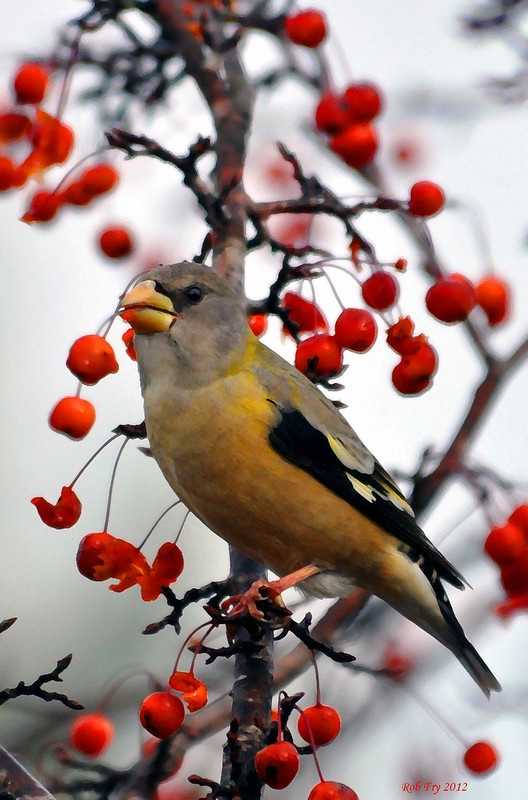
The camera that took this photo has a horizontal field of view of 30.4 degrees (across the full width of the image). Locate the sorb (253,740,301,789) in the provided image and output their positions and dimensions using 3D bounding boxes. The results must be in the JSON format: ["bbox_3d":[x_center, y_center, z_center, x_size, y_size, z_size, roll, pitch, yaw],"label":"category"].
[{"bbox_3d":[0.031,0.926,2.509,0.121,0.109,0.109,-1,-3,-10],"label":"sorb"}]

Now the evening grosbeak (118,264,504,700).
[{"bbox_3d":[0.096,0.234,3.228,1.113,1.351,0.447,-3,14,-12],"label":"evening grosbeak"}]
